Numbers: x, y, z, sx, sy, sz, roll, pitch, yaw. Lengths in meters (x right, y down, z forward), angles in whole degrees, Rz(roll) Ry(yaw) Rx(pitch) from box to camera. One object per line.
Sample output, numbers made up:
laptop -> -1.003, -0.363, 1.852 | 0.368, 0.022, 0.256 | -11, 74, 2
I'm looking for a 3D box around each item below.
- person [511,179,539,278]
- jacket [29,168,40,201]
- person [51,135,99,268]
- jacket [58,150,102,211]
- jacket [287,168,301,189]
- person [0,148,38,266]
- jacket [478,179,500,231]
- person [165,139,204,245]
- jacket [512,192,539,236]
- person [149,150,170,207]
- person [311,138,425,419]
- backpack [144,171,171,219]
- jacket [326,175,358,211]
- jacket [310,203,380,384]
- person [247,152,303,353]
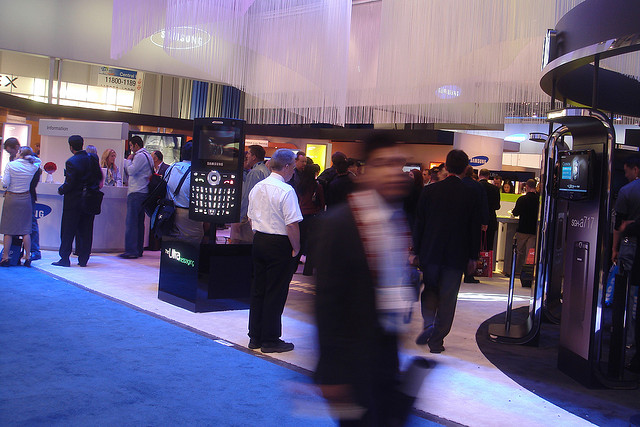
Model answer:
person -> 3.826, 0.260, 9.036 | 0.418, 1.791, 0.808 | 5, 4, 22
jacket -> -4.527, -0.472, 7.671 | 0.120, 0.511, 0.262 | 1, 5, -24
person -> -4.024, -0.059, 7.981 | 0.619, 1.832, 0.260 | 1, 4, -30
jacket -> -3.969, -0.545, 8.017 | 0.612, 1.004, 0.377 | 1, 4, -26
jacket -> -0.389, -0.581, 7.851 | 0.159, 0.313, 0.512 | 4, 5, 4
person -> -4.713, -0.114, 7.570 | 0.471, 1.828, 0.296 | 1, 5, -33
jacket -> 3.191, -0.164, 9.110 | 0.336, 0.950, 0.727 | 5, 5, 27
person -> -1.814, -0.281, 6.401 | 0.801, 1.227, 0.376 | 6, 3, -7
jacket -> 3.787, 0.005, 8.885 | 0.419, 0.806, 0.452 | 5, 5, 22
person -> -2.642, -0.570, 7.899 | 0.340, 0.382, 1.162 | 23, 11, -18
person -> 0.270, 0.350, 2.602 | 0.569, 1.514, 0.273 | 3, 4, 2
backpack -> -2.348, -0.246, 6.687 | 0.161, 0.545, 0.387 | 24, -2, -15
jacket -> 0.183, -0.188, 4.246 | 0.136, 0.193, 0.467 | -22, 3, -28
jacket -> 0.148, 0.425, 2.540 | 0.364, 0.938, 0.119 | 4, 4, 6
person -> -0.471, 0.393, 4.919 | 0.556, 2.037, 0.350 | 3, 4, 4
